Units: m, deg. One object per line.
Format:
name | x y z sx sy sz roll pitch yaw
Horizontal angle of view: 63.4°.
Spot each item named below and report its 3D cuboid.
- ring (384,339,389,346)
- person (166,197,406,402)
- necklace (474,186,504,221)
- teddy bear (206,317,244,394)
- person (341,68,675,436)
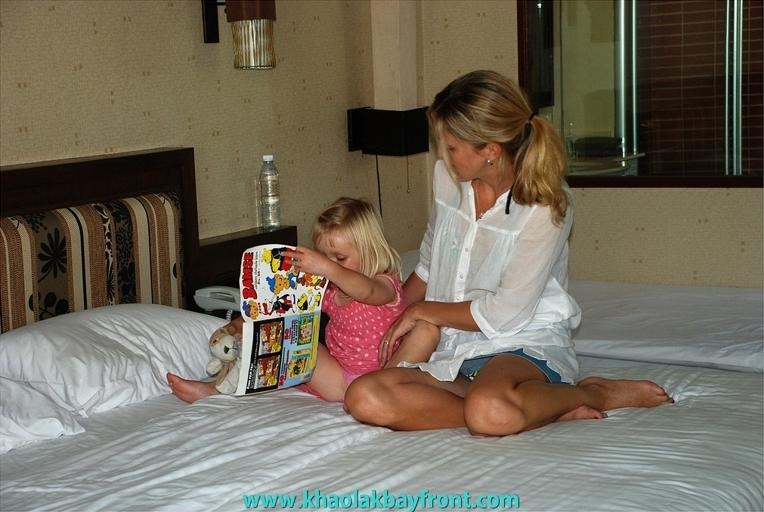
ring | 0.016 0.287 2.059 0.018 0.016 0.005 -6 -19 13
person | -0.313 0.175 2.088 0.856 0.591 0.489 -6 4 -21
necklace | 0.370 -0.188 2.142 0.088 0.117 0.045 14 0 27
teddy bear | -0.540 0.352 2.132 0.084 0.182 0.179 15 -24 -31
person | 0.325 -0.021 2.048 1.003 1.034 0.788 -7 17 -24
